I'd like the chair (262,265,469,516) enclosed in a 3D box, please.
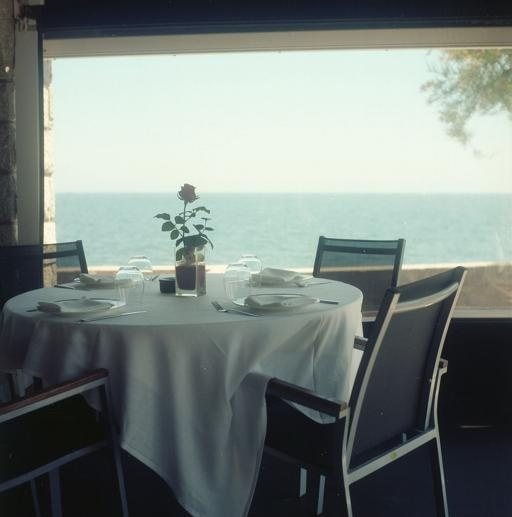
[{"bbox_3d":[0.389,0.360,2.098,0.622,1.142,0.656,-6,9,-42],"label":"chair"}]

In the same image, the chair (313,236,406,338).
[{"bbox_3d":[0.529,0.131,3.234,0.358,0.837,0.449,5,2,26],"label":"chair"}]

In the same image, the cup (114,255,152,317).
[{"bbox_3d":[-0.442,0.106,2.077,0.143,0.232,0.155,-1,3,0],"label":"cup"}]

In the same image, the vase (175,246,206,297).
[{"bbox_3d":[-0.264,0.049,2.273,0.112,0.218,0.131,0,7,-12],"label":"vase"}]

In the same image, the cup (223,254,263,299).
[{"bbox_3d":[-0.040,0.058,2.180,0.111,0.264,0.152,2,5,17],"label":"cup"}]

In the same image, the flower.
[{"bbox_3d":[-0.268,-0.160,2.190,0.183,0.230,0.189,8,-15,-7],"label":"flower"}]
